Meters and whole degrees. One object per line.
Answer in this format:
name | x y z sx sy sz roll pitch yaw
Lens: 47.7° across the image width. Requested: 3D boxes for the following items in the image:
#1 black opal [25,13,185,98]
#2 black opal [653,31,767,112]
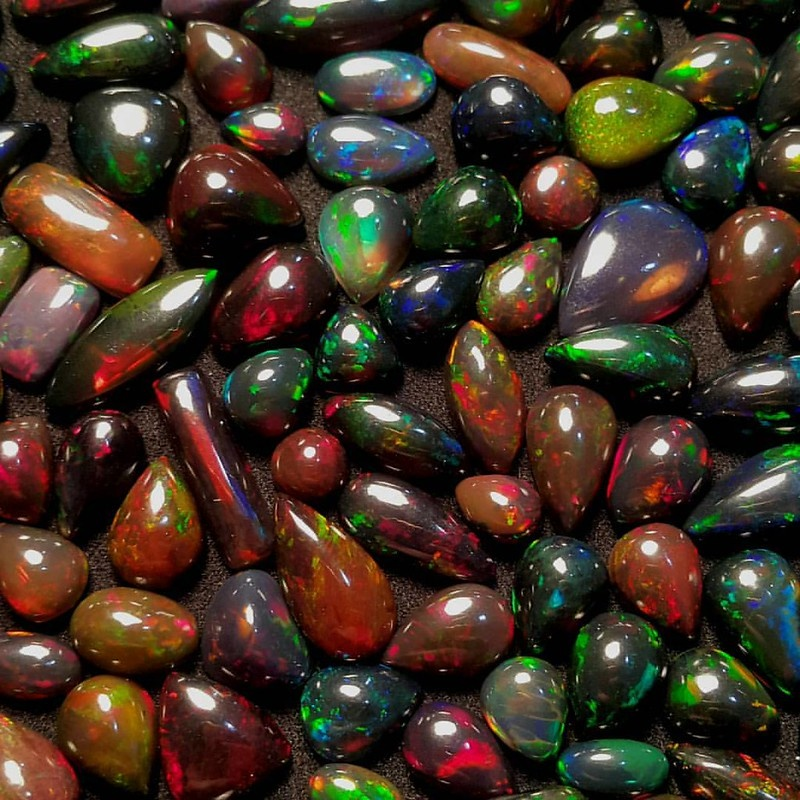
black opal | -0.218 -0.261 0.678 0.118 0.037 0.052 -20 73 -14
black opal | 0.225 -0.246 0.668 0.074 0.032 0.051 -4 99 5
